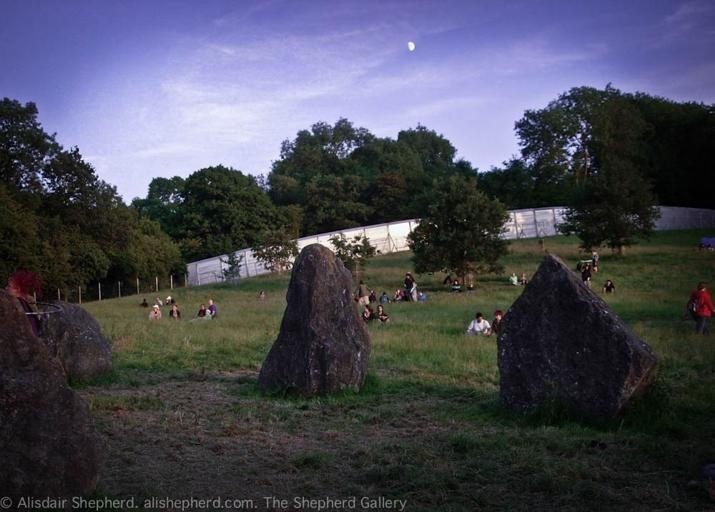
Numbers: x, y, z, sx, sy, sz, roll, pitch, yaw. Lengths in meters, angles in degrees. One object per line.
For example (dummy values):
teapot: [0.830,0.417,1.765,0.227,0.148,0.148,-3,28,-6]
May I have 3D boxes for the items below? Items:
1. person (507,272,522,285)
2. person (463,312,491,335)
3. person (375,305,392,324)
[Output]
person: [9.956,1.488,42.853,0.333,0.844,0.270,-11,6,23]
person: [4.252,2.499,23.867,0.972,1.099,0.646,-1,-2,8]
person: [1.179,2.438,27.707,0.574,1.000,0.575,-1,-15,-8]
